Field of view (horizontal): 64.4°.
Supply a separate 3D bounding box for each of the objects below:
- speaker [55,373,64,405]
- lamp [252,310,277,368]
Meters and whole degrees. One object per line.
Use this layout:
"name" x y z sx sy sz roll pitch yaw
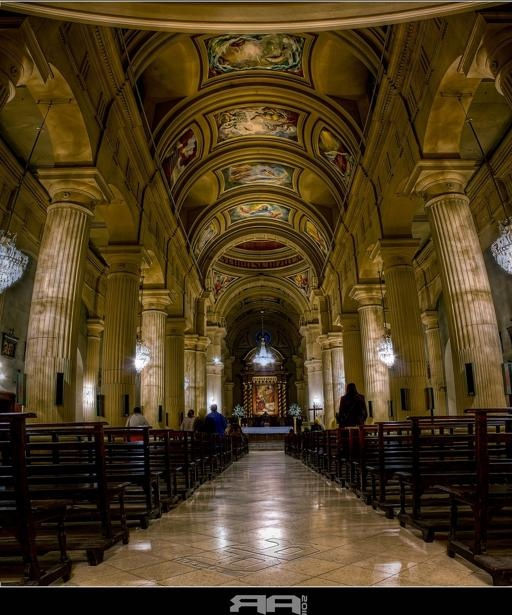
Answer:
"speaker" -3.174 1.309 6.540 0.078 0.529 0.197 -5 -14 15
"lamp" 0.515 2.499 34.125 1.771 4.165 1.715 -3 4 -21
